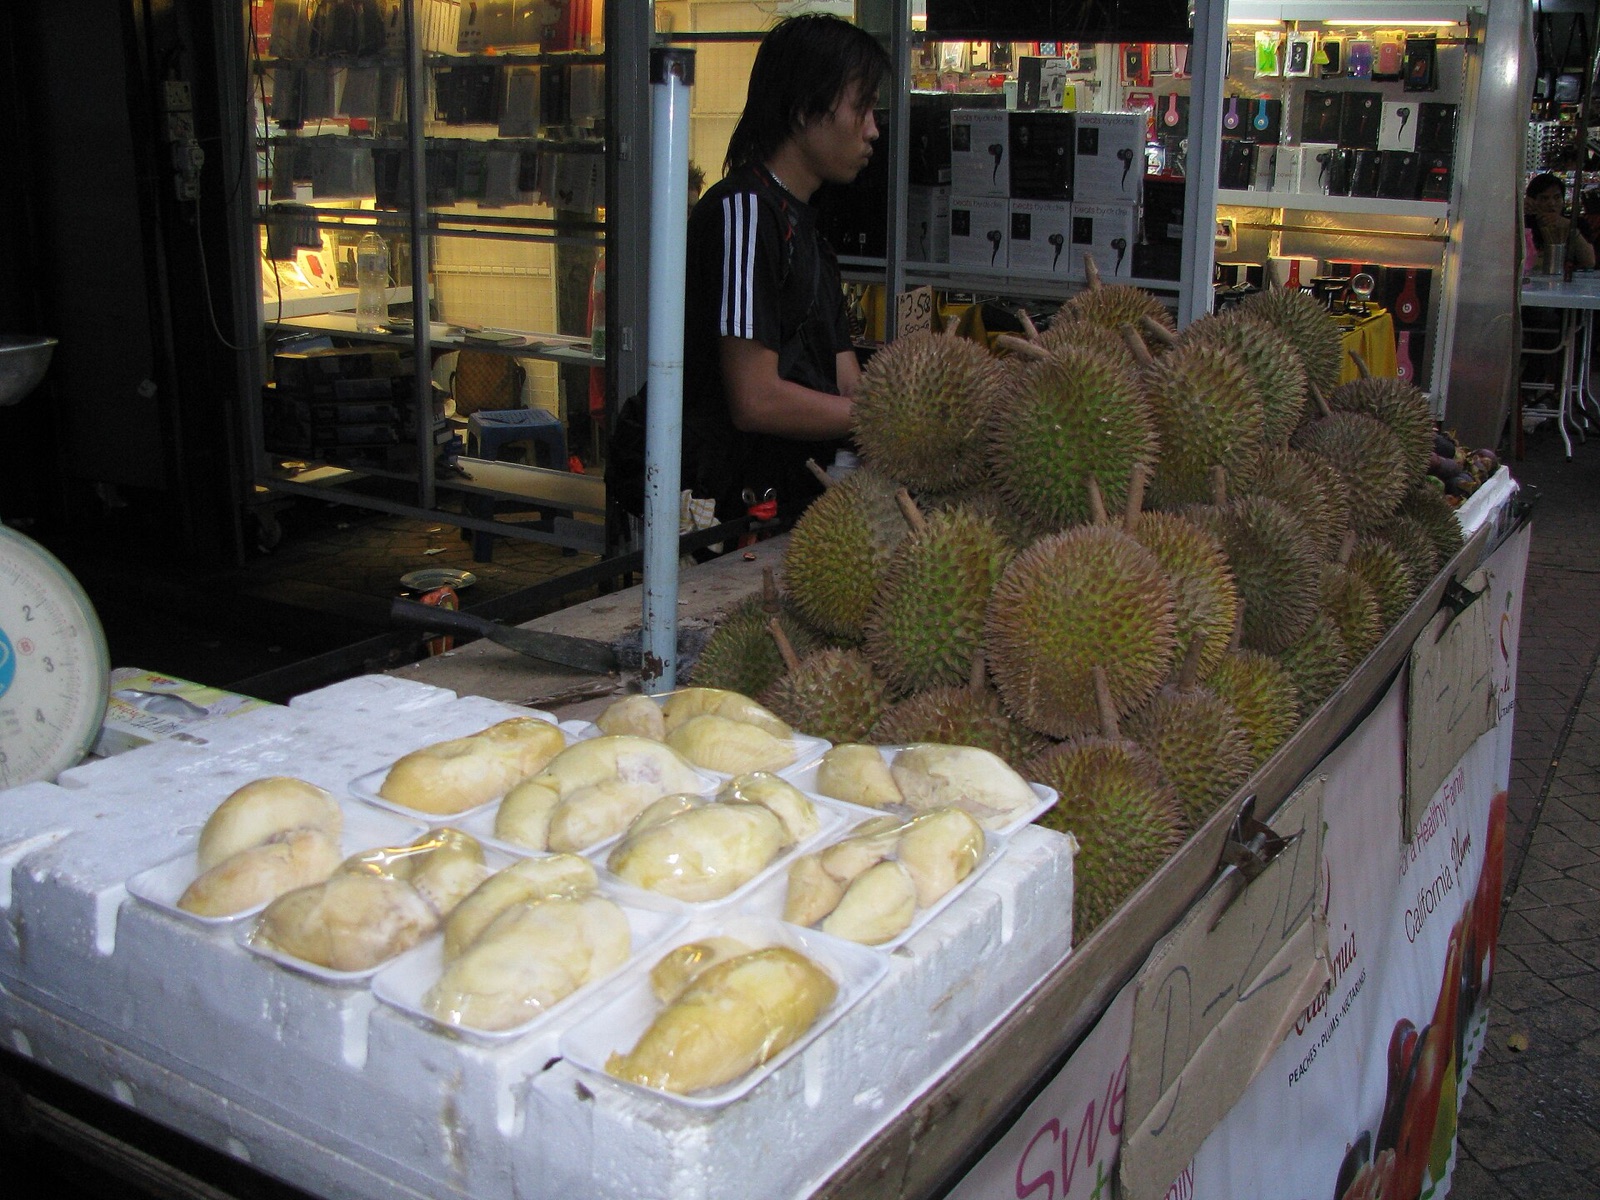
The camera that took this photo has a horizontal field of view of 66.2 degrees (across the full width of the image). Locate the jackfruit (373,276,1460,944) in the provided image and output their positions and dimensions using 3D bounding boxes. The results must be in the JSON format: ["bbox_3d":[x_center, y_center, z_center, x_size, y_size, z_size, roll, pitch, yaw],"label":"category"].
[{"bbox_3d":[0.413,-0.036,2.108,0.912,1.464,0.649,39,-24,1],"label":"jackfruit"}]

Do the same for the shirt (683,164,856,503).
[{"bbox_3d":[-0.077,-0.637,2.975,0.340,0.726,0.636,8,10,14],"label":"shirt"}]

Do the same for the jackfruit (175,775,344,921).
[{"bbox_3d":[-0.467,0.232,1.091,0.099,0.049,0.123,29,48,19],"label":"jackfruit"}]

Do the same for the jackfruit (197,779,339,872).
[{"bbox_3d":[-0.481,0.192,1.128,0.081,0.053,0.099,-17,9,9],"label":"jackfruit"}]

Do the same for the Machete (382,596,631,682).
[{"bbox_3d":[-0.467,0.068,1.985,0.286,0.034,0.056,15,6,-13],"label":"Machete"}]
